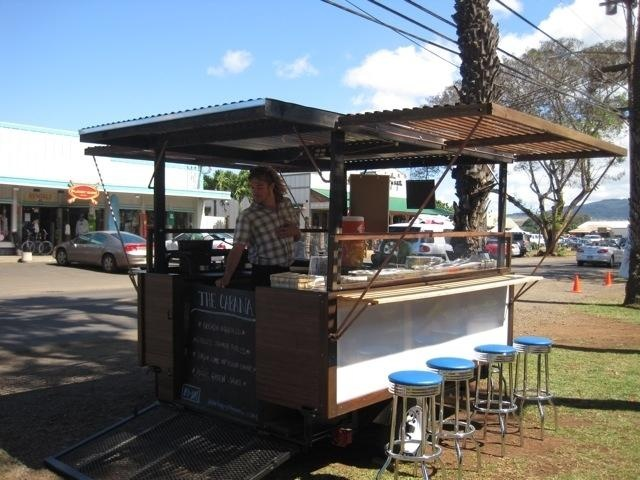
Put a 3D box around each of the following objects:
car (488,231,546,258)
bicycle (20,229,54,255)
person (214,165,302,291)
[{"bbox_3d":[9.134,0.226,26.437,2.646,1.343,1.535,-9,11,-40],"label":"car"},{"bbox_3d":[-13.826,0.124,28.754,0.815,1.038,1.649,0,3,40],"label":"bicycle"},{"bbox_3d":[-0.637,-0.161,6.849,1.045,1.378,0.469,-6,6,-44],"label":"person"}]
